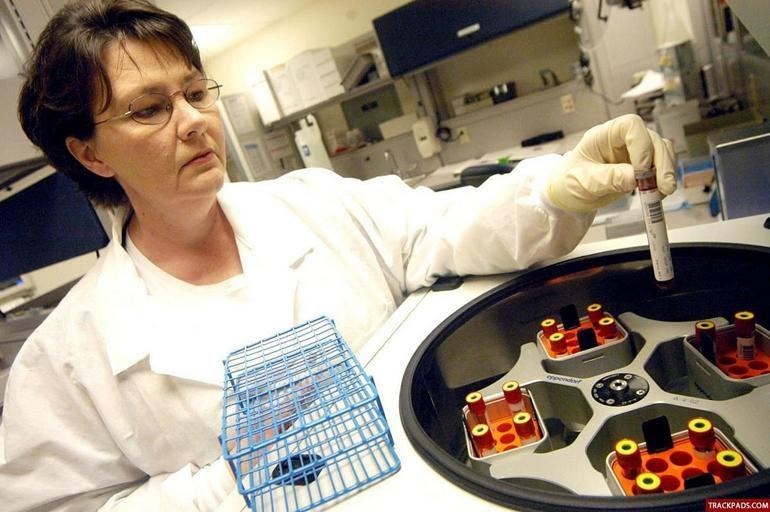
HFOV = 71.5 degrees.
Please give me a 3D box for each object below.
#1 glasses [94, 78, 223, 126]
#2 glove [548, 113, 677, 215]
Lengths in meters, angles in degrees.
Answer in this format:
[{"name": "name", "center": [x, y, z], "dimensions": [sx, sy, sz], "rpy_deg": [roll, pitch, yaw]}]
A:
[{"name": "glasses", "center": [-0.621, -0.400, 1.455], "dimensions": [0.308, 0.093, 0.120], "rpy_deg": [-24, 22, -23]}, {"name": "glove", "center": [0.556, -0.216, 1.299], "dimensions": [0.137, 0.235, 0.309], "rpy_deg": [-32, 25, -36]}]
